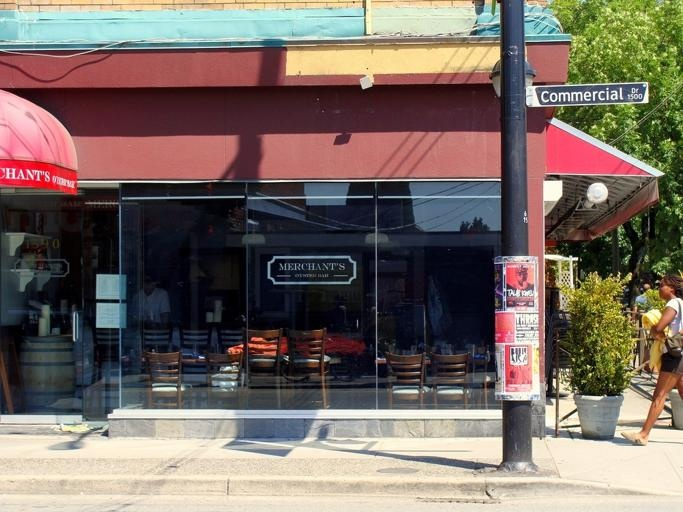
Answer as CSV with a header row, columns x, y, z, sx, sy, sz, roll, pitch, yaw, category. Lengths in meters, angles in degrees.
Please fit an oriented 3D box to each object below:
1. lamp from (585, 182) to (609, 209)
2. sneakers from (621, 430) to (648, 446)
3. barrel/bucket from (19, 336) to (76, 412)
x,y,z,sx,sy,sz,roll,pitch,yaw,category
4.765,-1.090,19.240,0.429,0.455,0.714,3,3,6,lamp
4.612,2.914,16.885,0.452,0.187,0.171,21,-5,10,sneakers
-5.419,2.118,19.116,1.176,1.787,1.207,-1,-7,0,barrel/bucket
